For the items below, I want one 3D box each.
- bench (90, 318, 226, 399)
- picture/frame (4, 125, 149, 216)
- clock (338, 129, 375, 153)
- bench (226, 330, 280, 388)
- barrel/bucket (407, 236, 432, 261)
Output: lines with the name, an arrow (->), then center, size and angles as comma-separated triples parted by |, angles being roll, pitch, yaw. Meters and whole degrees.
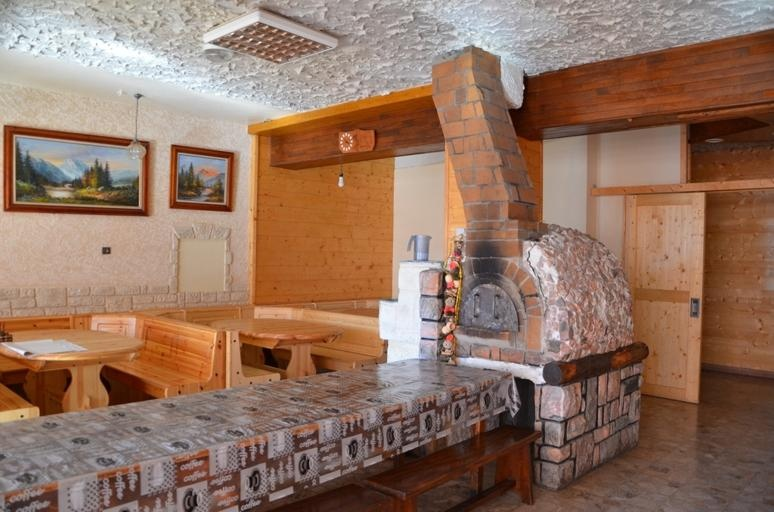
bench -> -2.327, 1.069, 5.222 | 1.232, 0.498, 0.407 | 1, -2, 41
picture/frame -> -3.981, -1.078, 6.424 | 1.699, 0.858, 0.066 | 0, -2, -32
clock -> -0.396, -1.445, 6.477 | 0.490, 0.287, 0.154 | 5, 4, 43
bench -> -1.461, 1.115, 5.573 | 0.608, 0.503, 0.940 | -1, 1, -30
barrel/bucket -> 0.300, -0.075, 4.983 | 0.184, 0.241, 0.520 | 4, 3, 6
